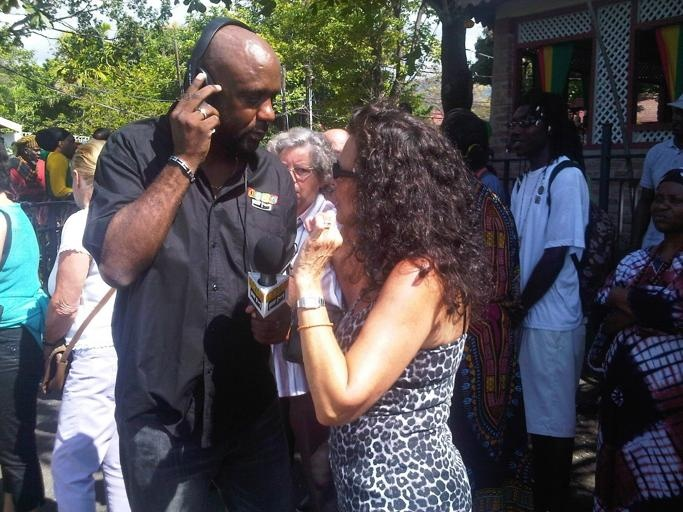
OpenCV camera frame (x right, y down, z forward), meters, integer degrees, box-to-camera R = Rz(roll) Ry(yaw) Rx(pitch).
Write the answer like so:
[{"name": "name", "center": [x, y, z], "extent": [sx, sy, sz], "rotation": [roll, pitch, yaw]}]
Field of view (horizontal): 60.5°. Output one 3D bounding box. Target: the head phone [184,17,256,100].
[{"name": "head phone", "center": [-0.592, -0.980, 2.831], "extent": [0.332, 0.354, 0.170], "rotation": [-2, 9, -15]}]

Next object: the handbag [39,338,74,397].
[{"name": "handbag", "center": [-2.011, 0.764, 4.145], "extent": [0.258, 0.447, 0.273], "rotation": [-6, 17, -37]}]
